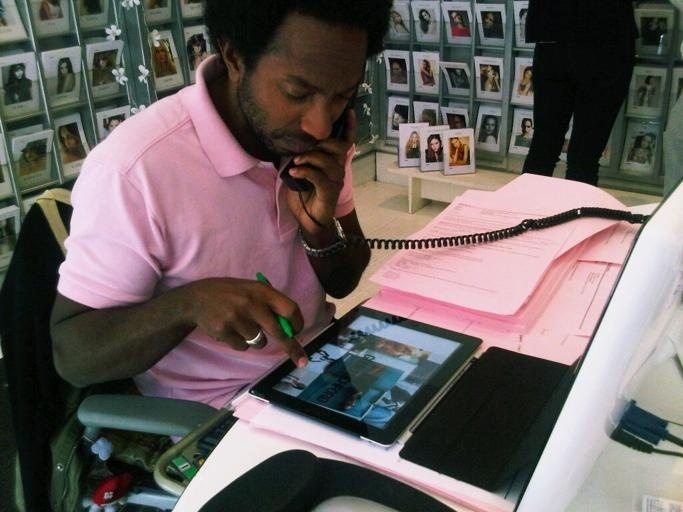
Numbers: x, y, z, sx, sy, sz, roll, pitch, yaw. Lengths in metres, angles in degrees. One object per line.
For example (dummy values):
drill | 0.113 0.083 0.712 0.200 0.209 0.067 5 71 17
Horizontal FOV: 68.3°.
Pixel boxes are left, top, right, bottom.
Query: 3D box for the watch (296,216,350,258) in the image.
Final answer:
watch | -0.031 -0.039 1.342 0.087 0.032 0.120 -19 34 9

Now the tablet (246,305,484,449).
tablet | 0.048 0.207 0.864 0.198 0.026 0.232 10 37 35

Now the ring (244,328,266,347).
ring | -0.151 0.158 0.944 0.032 0.025 0.034 -28 26 15
